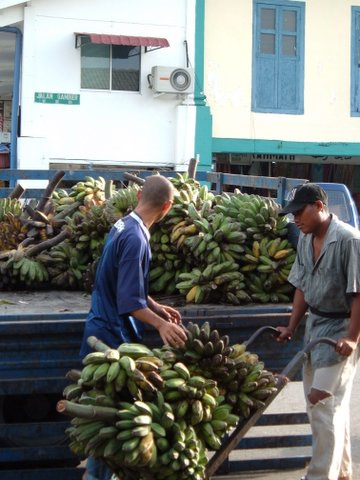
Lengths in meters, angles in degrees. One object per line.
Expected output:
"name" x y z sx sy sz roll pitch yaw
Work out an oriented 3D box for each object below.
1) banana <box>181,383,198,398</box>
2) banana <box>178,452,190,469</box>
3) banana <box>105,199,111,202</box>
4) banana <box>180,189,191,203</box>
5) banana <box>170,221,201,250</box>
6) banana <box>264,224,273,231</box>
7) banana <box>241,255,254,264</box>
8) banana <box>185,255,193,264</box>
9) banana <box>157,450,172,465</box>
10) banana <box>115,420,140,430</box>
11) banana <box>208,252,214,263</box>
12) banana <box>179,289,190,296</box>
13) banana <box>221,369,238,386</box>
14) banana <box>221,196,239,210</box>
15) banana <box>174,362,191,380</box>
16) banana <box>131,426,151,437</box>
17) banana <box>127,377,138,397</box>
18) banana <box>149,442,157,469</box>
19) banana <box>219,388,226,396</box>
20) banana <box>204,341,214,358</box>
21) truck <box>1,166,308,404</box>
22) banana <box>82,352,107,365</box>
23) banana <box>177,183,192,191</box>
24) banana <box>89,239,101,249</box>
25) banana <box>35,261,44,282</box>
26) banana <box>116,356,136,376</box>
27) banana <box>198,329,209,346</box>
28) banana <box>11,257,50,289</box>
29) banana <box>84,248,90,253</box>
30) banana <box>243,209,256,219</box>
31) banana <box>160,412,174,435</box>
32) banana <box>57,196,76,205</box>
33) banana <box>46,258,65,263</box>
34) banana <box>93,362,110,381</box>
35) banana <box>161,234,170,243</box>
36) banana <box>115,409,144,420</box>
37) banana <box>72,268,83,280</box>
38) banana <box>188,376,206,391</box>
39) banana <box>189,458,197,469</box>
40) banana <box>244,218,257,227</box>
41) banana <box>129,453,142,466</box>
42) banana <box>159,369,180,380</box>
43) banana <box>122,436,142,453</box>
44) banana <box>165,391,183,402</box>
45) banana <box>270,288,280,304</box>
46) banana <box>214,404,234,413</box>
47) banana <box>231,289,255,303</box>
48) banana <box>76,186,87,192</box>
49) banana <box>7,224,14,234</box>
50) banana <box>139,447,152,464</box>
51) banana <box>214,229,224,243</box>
"banana" 0.053 0.768 4.228 0.034 0.078 0.052 -27 22 55
"banana" 0.023 1.088 4.095 0.023 0.068 0.038 -19 11 -18
"banana" -0.605 -0.342 6.956 0.039 0.009 0.037 -3 32 -1
"banana" 0.046 -0.348 6.527 0.084 0.097 0.169 0 2 4
"banana" 0.024 -0.063 6.190 0.154 0.072 0.203 -8 38 14
"banana" 0.665 -0.104 6.181 0.045 0.043 0.015 -25 4 -17
"banana" 0.501 0.140 6.152 0.093 0.063 0.036 0 2 10
"banana" 0.063 0.138 6.219 0.014 0.041 0.054 -43 -12 -26
"banana" -0.077 1.069 4.090 0.042 0.062 0.017 -16 25 -37
"banana" -0.263 0.905 4.070 0.142 0.053 0.038 -2 29 9
"banana" 0.223 0.123 6.044 0.041 0.074 0.044 -1 2 -18
"banana" 0.034 0.382 6.076 0.061 0.053 0.049 9 8 21
"banana" 0.265 0.745 4.505 0.039 0.046 0.144 8 -41 -40
"banana" 0.384 -0.301 6.457 0.046 0.055 0.155 31 11 -28
"banana" 0.010 0.673 4.346 0.046 0.082 0.071 -42 28 11
"banana" -0.183 0.936 4.060 0.044 0.049 0.124 2 3 44
"banana" -0.237 0.737 4.166 0.031 0.098 0.036 -20 2 29
"banana" -0.126 1.053 4.063 0.033 0.119 0.039 -3 1 -33
"banana" 0.233 0.823 4.491 0.038 0.036 0.011 2 1 -23
"banana" 0.155 0.580 4.391 0.050 0.095 0.084 0 2 1
"truck" -0.326 0.485 6.002 2.085 0.919 2.147 2 6 14
"banana" -0.447 0.608 4.234 0.061 0.042 0.114 -15 -1 -37
"banana" 0.048 -0.456 6.902 0.072 0.018 0.078 -13 38 46
"banana" -0.678 0.022 6.572 0.056 0.073 0.020 7 -13 -2
"banana" -1.098 0.251 6.504 0.035 0.131 0.081 -10 20 12
"banana" -0.268 0.626 4.157 0.045 0.054 0.146 9 12 -19
"banana" 0.127 0.512 4.403 0.033 0.082 0.061 -2 3 -36
"banana" -1.153 0.241 6.469 0.235 0.122 0.248 37 18 -24
"banana" -0.744 0.078 6.703 0.019 0.036 0.060 -2 3 -33
"banana" 0.521 -0.203 6.203 0.046 0.074 0.121 -2 3 -37
"banana" -0.063 0.909 4.135 0.039 0.129 0.042 8 27 23
"banana" -1.015 -0.364 7.455 0.094 0.053 0.078 -10 10 12
"banana" -0.985 0.156 6.584 0.145 0.041 0.051 -2 3 -38
"banana" -0.395 0.653 4.137 0.037 0.039 0.123 1 38 24
"banana" -0.110 -0.016 6.262 0.070 0.060 0.027 -2 3 -38
"banana" -0.249 0.859 4.111 0.143 0.041 0.050 8 -8 -21
"banana" -0.807 0.262 6.571 0.053 0.092 0.024 -25 -15 -30
"banana" 0.089 0.735 4.302 0.058 0.026 0.071 -9 49 -8
"banana" 0.063 1.110 4.116 0.034 0.025 0.044 -3 3 1
"banana" 0.526 -0.137 6.177 0.096 0.064 0.055 0 2 8
"banana" -0.215 1.061 4.013 0.060 0.058 0.021 -1 2 -19
"banana" -0.054 0.700 4.324 0.105 0.042 0.045 0 2 -1
"banana" -0.235 0.987 4.009 0.037 0.049 0.134 -16 -9 25
"banana" -0.036 0.801 4.256 0.089 0.052 0.041 -7 5 -11
"banana" 0.702 0.412 6.084 0.031 0.037 0.111 -10 23 -1
"banana" 0.239 0.891 4.418 0.061 0.028 0.114 1 3 34
"banana" 0.446 0.398 6.040 0.061 0.071 0.200 -26 31 -38
"banana" -0.884 -0.475 7.531 0.068 0.052 0.112 -2 3 -27
"banana" -1.349 -0.093 6.648 0.043 0.072 0.076 0 2 11
"banana" -0.168 1.052 4.015 0.025 0.095 0.033 28 -29 -11
"banana" 0.285 -0.036 6.060 0.069 0.103 0.134 0 2 4
